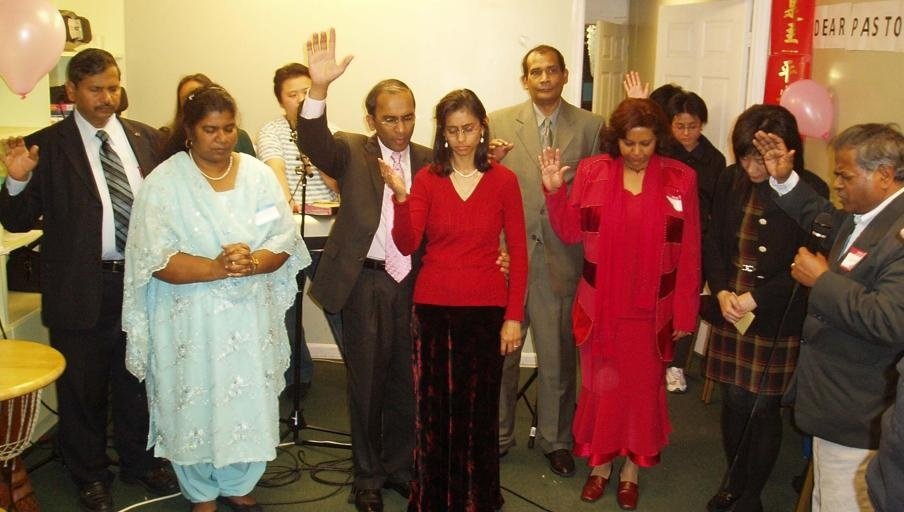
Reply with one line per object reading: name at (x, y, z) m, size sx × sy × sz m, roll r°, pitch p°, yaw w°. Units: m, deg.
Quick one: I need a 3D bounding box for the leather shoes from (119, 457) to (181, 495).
leather shoes at (-2.092, 1.534, 4.534) m, size 0.440 × 0.179 × 0.206 m, roll 4°, pitch 23°, yaw 0°

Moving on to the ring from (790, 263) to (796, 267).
ring at (2.035, 0.051, 3.835) m, size 0.019 × 0.024 × 0.009 m, roll -2°, pitch 9°, yaw -30°

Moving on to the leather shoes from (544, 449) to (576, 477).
leather shoes at (0.791, 1.496, 4.722) m, size 0.119 × 0.098 × 0.236 m, roll -3°, pitch 11°, yaw -24°

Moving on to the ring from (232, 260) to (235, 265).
ring at (-1.312, 0.035, 3.857) m, size 0.018 × 0.023 × 0.006 m, roll -2°, pitch 9°, yaw -8°

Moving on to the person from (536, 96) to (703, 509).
person at (1.203, 0.349, 4.318) m, size 0.847 × 2.715 × 0.337 m, roll 2°, pitch 10°, yaw 14°

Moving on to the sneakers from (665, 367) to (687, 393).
sneakers at (1.958, 1.072, 5.767) m, size 0.177 × 0.163 × 0.372 m, roll 0°, pitch 11°, yaw 2°

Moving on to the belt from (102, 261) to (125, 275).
belt at (-2.259, 0.066, 4.291) m, size 0.130 × 0.048 × 0.115 m, roll 4°, pitch 2°, yaw 12°

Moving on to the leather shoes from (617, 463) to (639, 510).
leather shoes at (1.217, 1.586, 4.427) m, size 0.123 × 0.327 × 0.102 m, roll 0°, pitch -11°, yaw 13°

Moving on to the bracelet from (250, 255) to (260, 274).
bracelet at (-1.215, 0.047, 3.962) m, size 0.039 × 0.091 × 0.071 m, roll 9°, pitch 30°, yaw -24°

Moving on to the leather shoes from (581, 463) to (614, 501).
leather shoes at (1.009, 1.582, 4.482) m, size 0.120 × 0.129 × 0.365 m, roll 6°, pitch 20°, yaw 35°
